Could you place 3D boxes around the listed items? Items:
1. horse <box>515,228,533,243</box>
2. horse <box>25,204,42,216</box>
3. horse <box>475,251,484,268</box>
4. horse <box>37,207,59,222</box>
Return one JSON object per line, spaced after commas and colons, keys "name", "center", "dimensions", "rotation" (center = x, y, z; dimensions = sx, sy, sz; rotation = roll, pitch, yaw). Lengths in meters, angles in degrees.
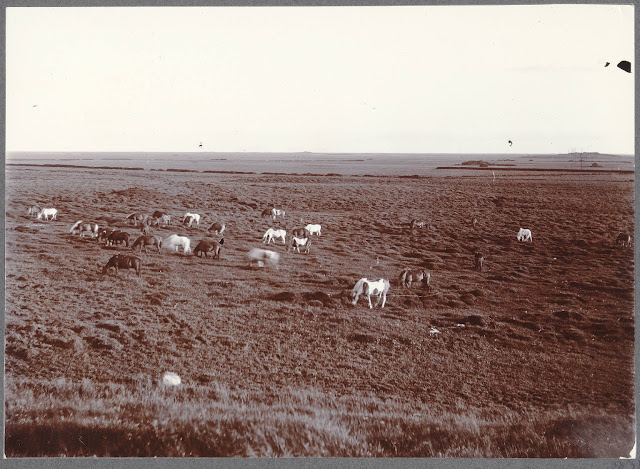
{"name": "horse", "center": [7.408, 0.047, 17.691], "dimensions": [0.529, 0.489, 0.389], "rotation": [3, 6, 24]}
{"name": "horse", "center": [-10.541, -0.885, 17.879], "dimensions": [0.430, 0.212, 0.331], "rotation": [13, 14, 25]}
{"name": "horse", "center": [5.434, 0.886, 16.556], "dimensions": [0.431, 0.522, 0.266], "rotation": [-4, 7, -37]}
{"name": "horse", "center": [-10.042, -0.724, 17.975], "dimensions": [0.734, 0.446, 0.453], "rotation": [-3, 7, -31]}
